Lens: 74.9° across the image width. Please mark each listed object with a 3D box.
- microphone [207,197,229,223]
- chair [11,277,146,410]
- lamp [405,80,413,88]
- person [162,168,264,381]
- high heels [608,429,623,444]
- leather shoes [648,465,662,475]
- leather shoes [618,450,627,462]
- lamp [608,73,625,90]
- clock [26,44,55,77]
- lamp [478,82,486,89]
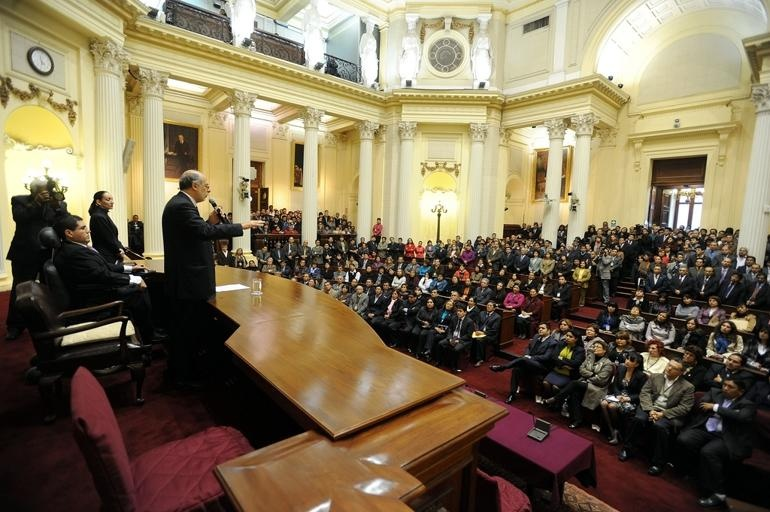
[{"bbox_3d":[-2.596,-0.761,7.686,0.210,0.238,0.800,-28,34,-5],"label":"microphone"},{"bbox_3d":[-4.715,1.315,8.180,1.909,2.314,1.708,2,2,-29],"label":"chair"},{"bbox_3d":[0.907,-6.939,20.195,0.343,0.360,0.244,1,20,-4],"label":"lamp"},{"bbox_3d":[-2.862,0.371,7.568,1.030,3.299,0.358,3,7,3],"label":"person"},{"bbox_3d":[4.266,3.322,9.271,0.202,0.244,0.172,5,7,18],"label":"high heels"},{"bbox_3d":[4.708,3.687,8.713,0.255,0.146,0.109,3,7,-7],"label":"leather shoes"},{"bbox_3d":[4.270,3.530,8.979,0.168,0.161,0.127,-2,8,-37],"label":"leather shoes"},{"bbox_3d":[8.822,-6.681,19.149,0.557,0.611,0.791,6,7,27],"label":"lamp"},{"bbox_3d":[-8.003,-4.505,11.607,0.123,0.628,0.649,4,6,12],"label":"clock"},{"bbox_3d":[3.829,-6.760,19.818,0.272,0.205,0.092,3,14,9],"label":"lamp"}]
